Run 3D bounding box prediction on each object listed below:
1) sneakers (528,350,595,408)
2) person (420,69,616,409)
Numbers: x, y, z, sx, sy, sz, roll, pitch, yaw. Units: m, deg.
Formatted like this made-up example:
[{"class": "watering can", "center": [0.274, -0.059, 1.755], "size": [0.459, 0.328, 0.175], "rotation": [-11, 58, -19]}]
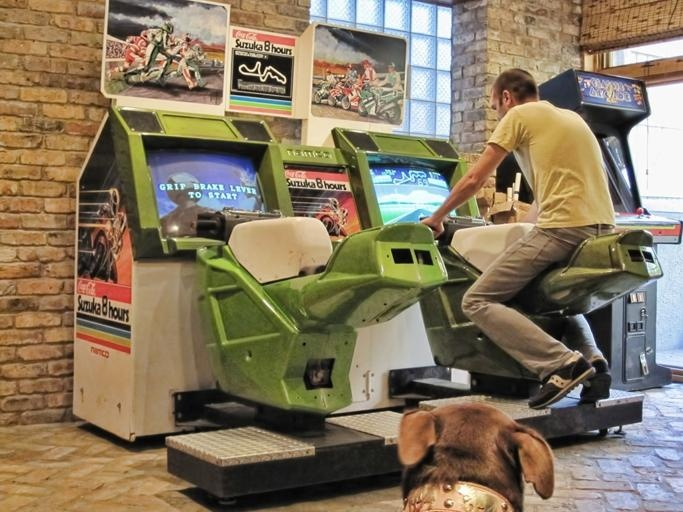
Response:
[{"class": "sneakers", "center": [1.086, 0.637, 3.159], "size": [0.167, 0.290, 0.295], "rotation": [1, 0, -32]}, {"class": "person", "center": [0.970, -0.117, 3.355], "size": [0.915, 1.785, 0.545], "rotation": [1, 0, 10]}]
